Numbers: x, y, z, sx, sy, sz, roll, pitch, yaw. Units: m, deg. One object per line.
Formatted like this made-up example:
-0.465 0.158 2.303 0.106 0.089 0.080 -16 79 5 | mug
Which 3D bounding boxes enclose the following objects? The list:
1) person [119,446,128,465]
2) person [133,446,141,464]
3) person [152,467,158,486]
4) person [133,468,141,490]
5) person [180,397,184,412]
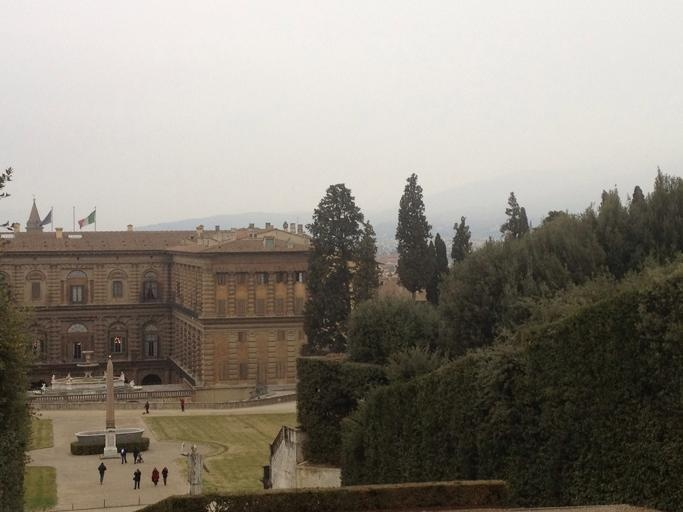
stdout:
-12.361 11.337 75.366 0.376 0.914 1.812 -1 -5 -10 | person
-11.604 11.368 75.532 0.452 0.894 1.824 -1 -5 -9 | person
-9.924 11.817 70.782 0.397 0.912 1.872 -1 -5 -9 | person
-10.807 11.864 70.281 0.389 0.993 1.606 -1 -5 -10 | person
-11.202 10.588 93.692 0.338 0.821 1.680 -1 -5 -7 | person
